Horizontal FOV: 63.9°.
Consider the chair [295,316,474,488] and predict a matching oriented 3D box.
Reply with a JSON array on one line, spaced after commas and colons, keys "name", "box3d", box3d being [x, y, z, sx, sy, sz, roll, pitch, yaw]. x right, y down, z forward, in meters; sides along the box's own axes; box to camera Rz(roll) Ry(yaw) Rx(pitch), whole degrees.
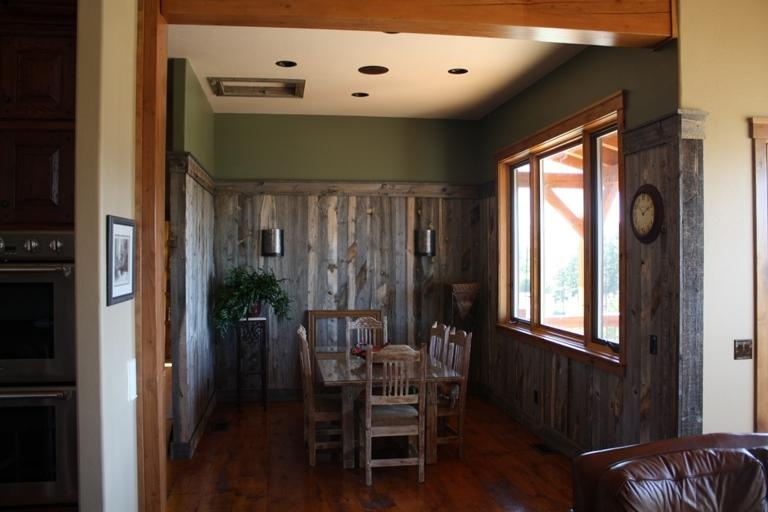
[{"name": "chair", "box3d": [0.030, 1.227, 5.738, 1.411, 1.218, 1.584, -2, 7, -7]}]

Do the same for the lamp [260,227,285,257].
[{"name": "lamp", "box3d": [-1.287, -0.152, 7.100, 0.280, 0.332, 0.319, 0, -4, -4]}]

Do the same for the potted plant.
[{"name": "potted plant", "box3d": [-1.496, 0.506, 7.105, 0.951, 0.885, 0.710, 4, -2, -34]}]

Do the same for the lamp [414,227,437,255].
[{"name": "lamp", "box3d": [0.491, -0.172, 7.347, 0.268, 0.408, 0.302, 0, 0, -23]}]
